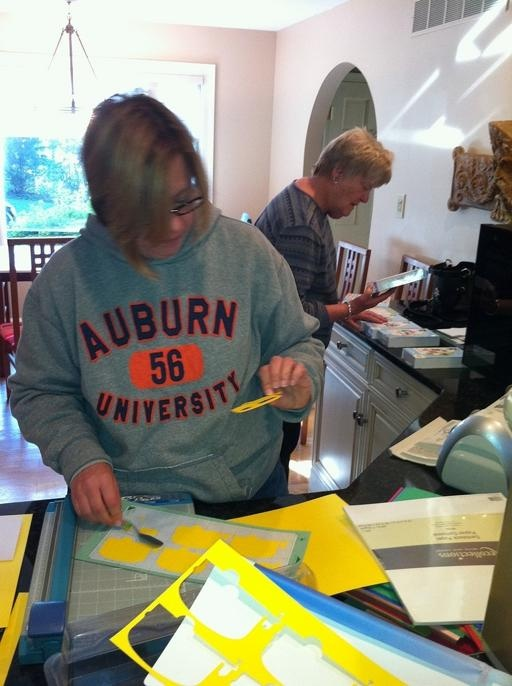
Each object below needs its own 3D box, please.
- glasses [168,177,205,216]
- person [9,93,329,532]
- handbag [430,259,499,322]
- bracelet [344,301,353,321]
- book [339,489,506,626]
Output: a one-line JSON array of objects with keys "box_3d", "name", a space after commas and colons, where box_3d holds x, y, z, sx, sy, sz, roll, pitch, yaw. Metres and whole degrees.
[{"box_3d": [-0.101, -0.212, 0.767, 0.058, 0.016, 0.055, -10, 32, 37], "name": "glasses"}, {"box_3d": [-0.116, -0.009, 0.932, 0.578, 0.768, 0.336, -7, 16, -31], "name": "person"}, {"box_3d": [0.772, -0.195, 1.788, 0.133, 0.161, 0.169, -7, 16, -13], "name": "handbag"}, {"box_3d": [0.363, -0.125, 2.006, 0.024, 0.061, 0.054, -5, 41, 8], "name": "bracelet"}, {"box_3d": [0.292, 0.289, 0.724, 0.265, 0.029, 0.253, -1, 12, -9], "name": "book"}]
